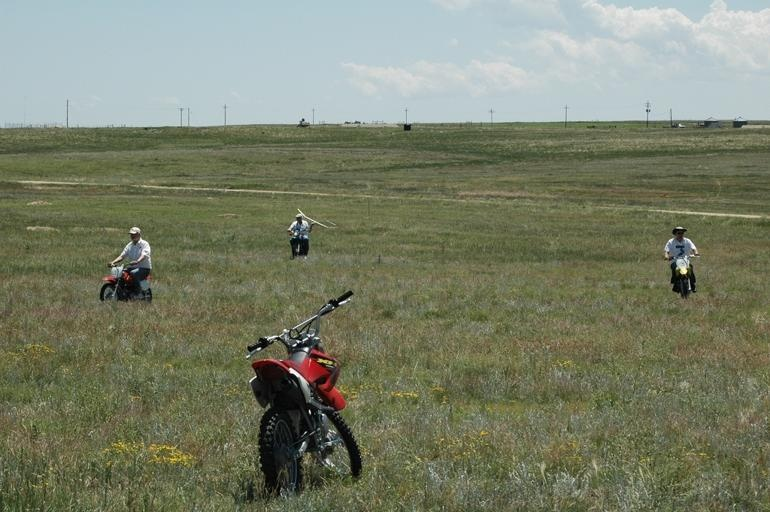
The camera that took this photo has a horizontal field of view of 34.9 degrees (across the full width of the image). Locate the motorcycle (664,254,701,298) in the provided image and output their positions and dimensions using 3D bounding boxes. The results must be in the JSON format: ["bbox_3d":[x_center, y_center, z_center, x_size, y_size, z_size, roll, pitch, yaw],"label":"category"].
[{"bbox_3d":[12.513,0.658,51.482,1.459,1.991,3.194,-5,8,9],"label":"motorcycle"}]

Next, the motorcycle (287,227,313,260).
[{"bbox_3d":[-4.224,-0.648,59.576,0.855,1.427,1.140,0,11,-8],"label":"motorcycle"}]

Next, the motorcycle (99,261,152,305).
[{"bbox_3d":[-10.102,1.035,47.307,1.980,1.304,0.974,-1,12,-13],"label":"motorcycle"}]
